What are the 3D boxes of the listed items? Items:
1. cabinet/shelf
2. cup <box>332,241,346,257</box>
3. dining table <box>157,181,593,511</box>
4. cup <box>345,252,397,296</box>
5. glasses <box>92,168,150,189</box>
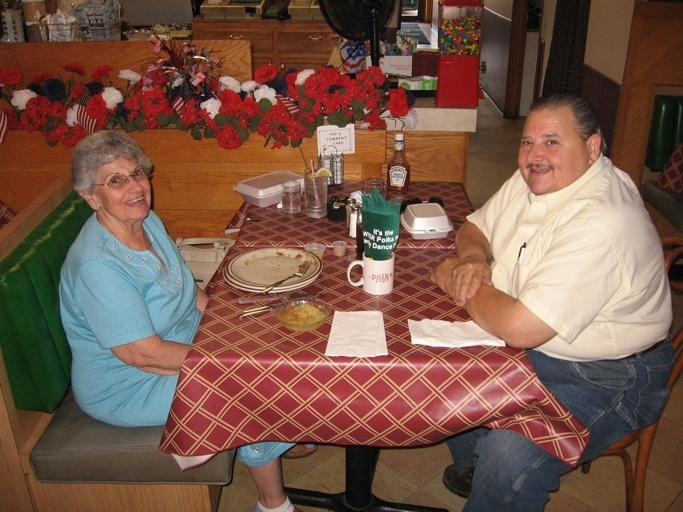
[{"bbox_3d":[-0.986,-2.971,6.986,1.881,0.735,0.225,-2,24,5],"label":"cabinet/shelf"},{"bbox_3d":[-0.004,-0.031,2.164,0.058,0.049,0.060,0,20,0],"label":"cup"},{"bbox_3d":[0.082,0.381,1.840,1.365,0.453,0.598,-3,23,4],"label":"dining table"},{"bbox_3d":[0.104,0.062,1.956,0.205,0.148,0.121,-4,24,-3],"label":"cup"},{"bbox_3d":[-0.833,-0.318,1.979,0.101,0.059,0.243,7,26,25],"label":"glasses"}]
